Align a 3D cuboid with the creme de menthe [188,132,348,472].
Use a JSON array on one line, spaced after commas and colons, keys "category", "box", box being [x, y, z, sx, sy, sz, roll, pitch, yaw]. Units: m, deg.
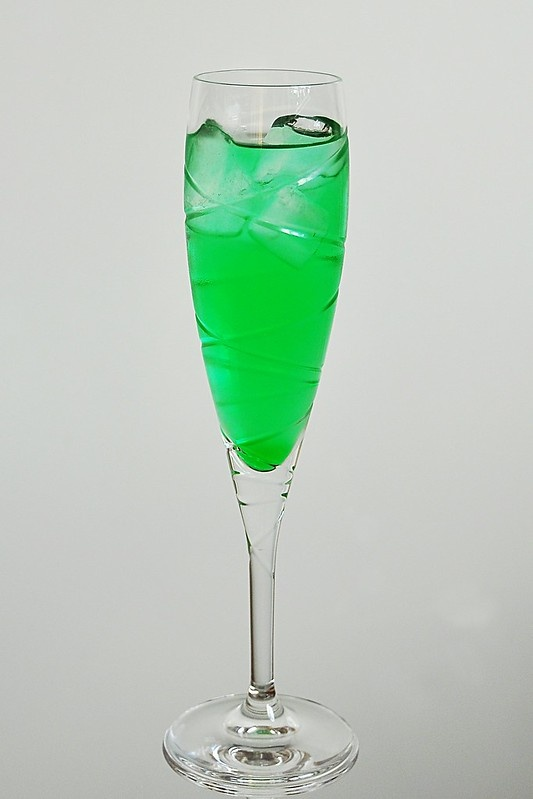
[{"category": "creme de menthe", "box": [0.005, -0.061, 0.514, 0.099, 0.214, 0.062, -5, 11, 3]}]
